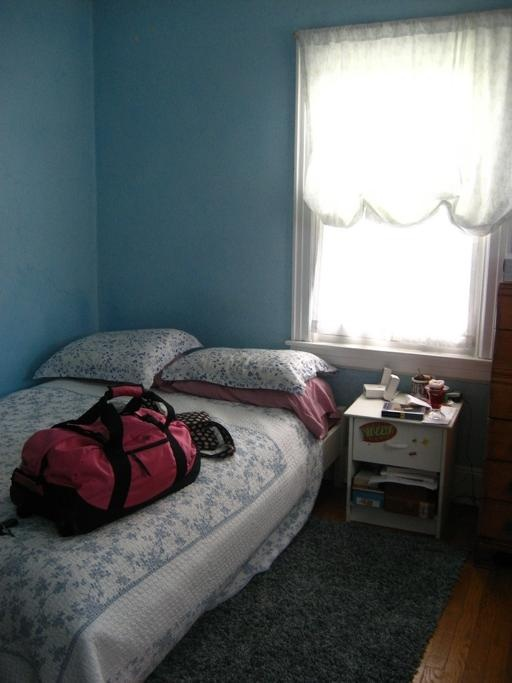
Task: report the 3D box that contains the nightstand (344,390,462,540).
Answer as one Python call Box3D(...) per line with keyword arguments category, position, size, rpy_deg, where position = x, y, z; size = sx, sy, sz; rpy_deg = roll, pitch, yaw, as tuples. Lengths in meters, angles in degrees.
Box3D(category="nightstand", position=(0.604, 0.493, 2.304), size=(0.391, 0.481, 0.372), rpy_deg=(4, 15, 24))

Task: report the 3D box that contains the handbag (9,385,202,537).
Box3D(category="handbag", position=(-0.371, 0.290, 1.468), size=(0.283, 0.306, 0.545), rpy_deg=(13, 12, 31))

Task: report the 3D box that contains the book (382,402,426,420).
Box3D(category="book", position=(0.606, 0.281, 2.180), size=(0.167, 0.042, 0.176), rpy_deg=(5, 9, 22))

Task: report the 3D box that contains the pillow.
Box3D(category="pillow", position=(-0.348, 0.099, 2.445), size=(0.893, 0.160, 0.564), rpy_deg=(1, 3, 16))
